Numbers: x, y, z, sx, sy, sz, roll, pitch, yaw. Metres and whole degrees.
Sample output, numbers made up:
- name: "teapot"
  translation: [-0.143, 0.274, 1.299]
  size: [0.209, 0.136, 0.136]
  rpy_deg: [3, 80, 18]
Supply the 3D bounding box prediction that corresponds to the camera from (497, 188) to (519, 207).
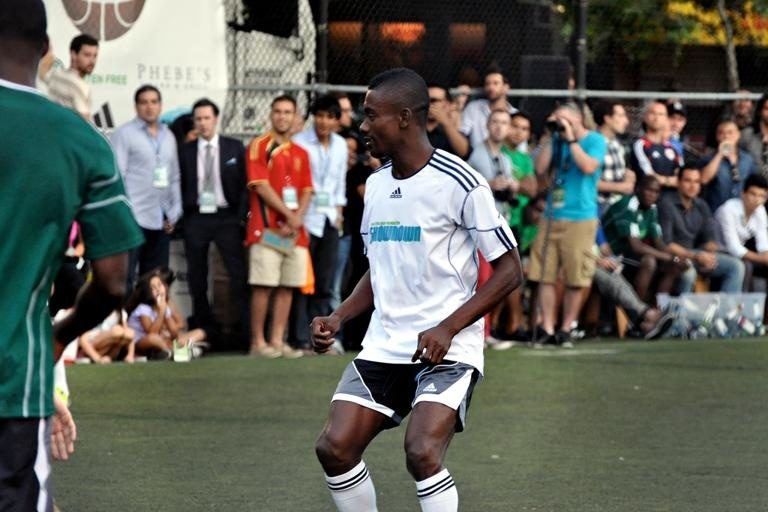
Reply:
- name: "camera"
  translation: [1.243, -0.583, 11.416]
  size: [0.232, 0.271, 0.112]
  rpy_deg: [-1, 3, 1]
